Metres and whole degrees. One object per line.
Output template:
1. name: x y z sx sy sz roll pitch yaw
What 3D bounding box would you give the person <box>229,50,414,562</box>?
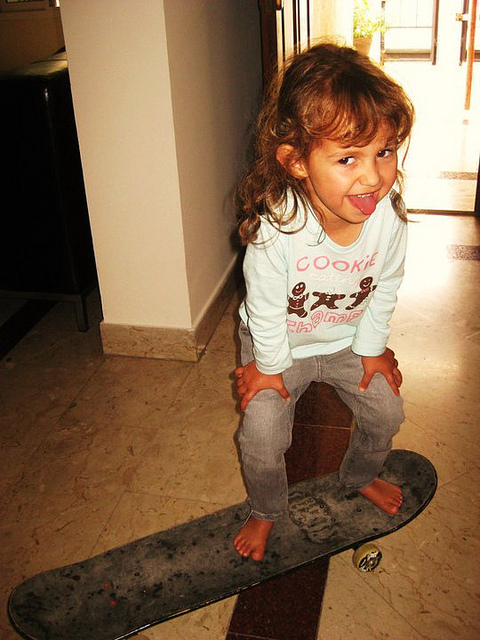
1. person: 0.162 0.009 1.040 0.440 1.005 0.350 -4 27 -1
